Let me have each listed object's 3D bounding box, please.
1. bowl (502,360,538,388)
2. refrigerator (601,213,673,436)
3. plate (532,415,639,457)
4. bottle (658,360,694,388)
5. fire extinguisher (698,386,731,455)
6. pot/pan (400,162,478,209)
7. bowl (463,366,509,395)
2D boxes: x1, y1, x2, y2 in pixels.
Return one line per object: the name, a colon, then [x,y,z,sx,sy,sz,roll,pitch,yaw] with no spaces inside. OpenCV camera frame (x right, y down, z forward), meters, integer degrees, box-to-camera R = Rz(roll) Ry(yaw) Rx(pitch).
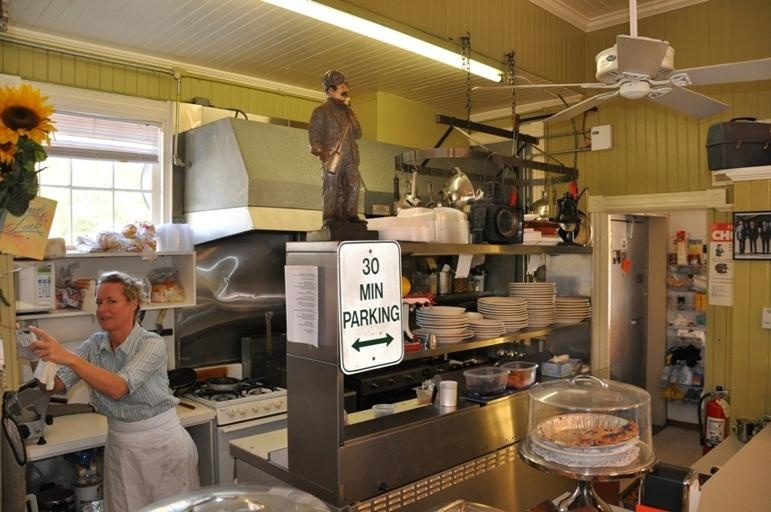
bowl: [1.048,0.894,4.809,0.185,0.103,0.217,-2,-3,40]
refrigerator: [2.788,0.787,7.677,0.523,2.565,1.068,6,3,31]
plate: [1.164,0.994,3.623,0.449,0.185,0.609,0,-2,42]
bottle: [3.489,1.419,7.523,0.115,0.317,0.365,-5,5,-36]
fire extinguisher: [3.284,1.651,6.271,0.258,0.696,0.264,1,5,35]
pot/pan: [0.414,-0.500,4.729,0.535,0.337,0.624,0,5,29]
bowl: [0.748,0.910,4.599,0.243,0.099,0.194,-2,1,-36]
